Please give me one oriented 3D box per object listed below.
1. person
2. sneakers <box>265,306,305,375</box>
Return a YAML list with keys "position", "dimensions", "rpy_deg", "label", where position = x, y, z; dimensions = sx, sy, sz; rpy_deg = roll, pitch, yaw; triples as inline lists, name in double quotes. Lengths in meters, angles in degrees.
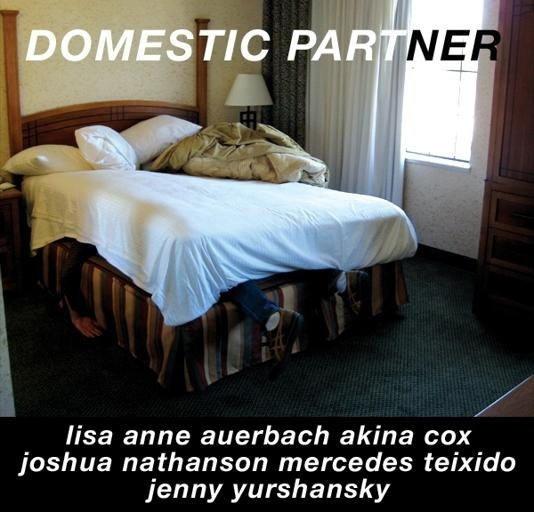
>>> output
- position: [0.002, 0.238, 2.315]
  dimensions: [0.954, 0.345, 0.960]
  rpy_deg: [-6, 16, -40]
  label: "person"
- position: [0.062, 0.416, 2.239]
  dimensions: [0.135, 0.366, 0.115]
  rpy_deg: [17, 23, 7]
  label: "sneakers"
